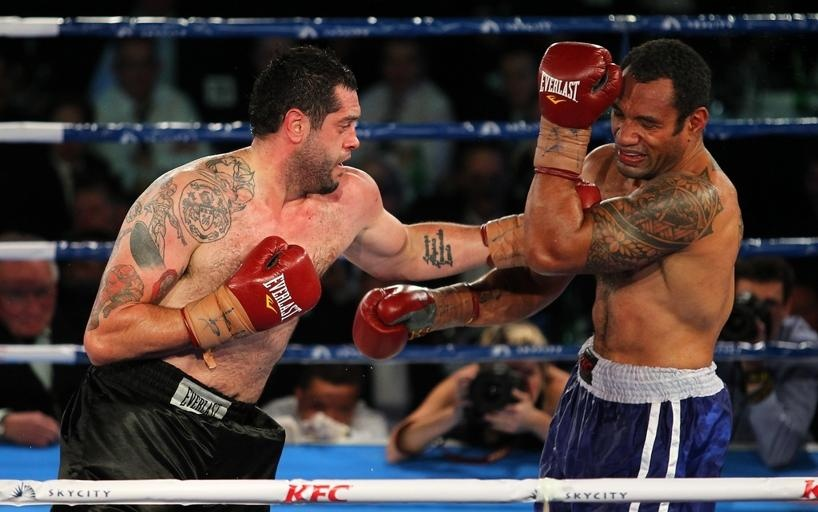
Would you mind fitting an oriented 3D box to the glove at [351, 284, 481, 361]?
[{"bbox_3d":[-0.012,0.293,5.309,0.499,0.247,0.276,-18,60,-33],"label":"glove"}]

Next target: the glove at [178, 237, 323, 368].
[{"bbox_3d":[-0.709,0.188,4.974,0.726,0.443,0.266,-28,-32,9],"label":"glove"}]
